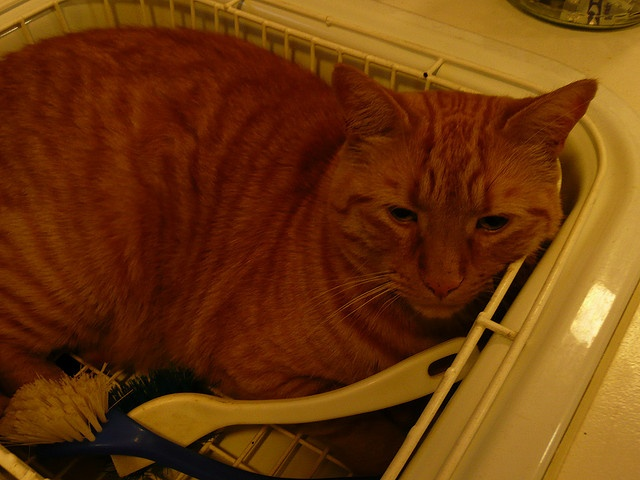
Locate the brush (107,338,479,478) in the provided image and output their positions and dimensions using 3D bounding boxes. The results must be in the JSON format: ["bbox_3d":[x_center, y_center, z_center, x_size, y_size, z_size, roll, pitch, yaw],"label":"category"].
[{"bbox_3d":[-0.041,0.324,1.097,0.745,0.087,0.129,-17,-5,5],"label":"brush"}]
